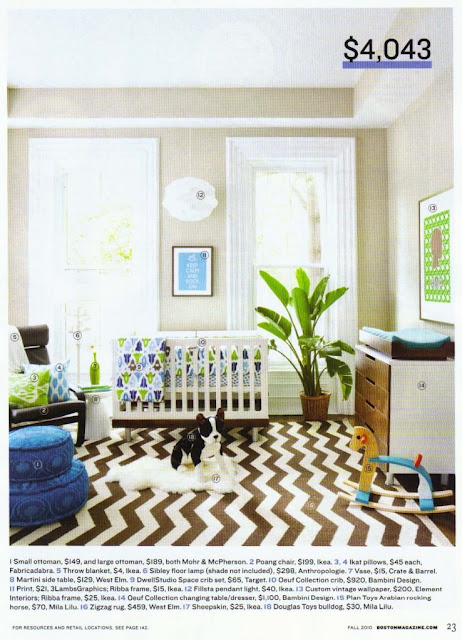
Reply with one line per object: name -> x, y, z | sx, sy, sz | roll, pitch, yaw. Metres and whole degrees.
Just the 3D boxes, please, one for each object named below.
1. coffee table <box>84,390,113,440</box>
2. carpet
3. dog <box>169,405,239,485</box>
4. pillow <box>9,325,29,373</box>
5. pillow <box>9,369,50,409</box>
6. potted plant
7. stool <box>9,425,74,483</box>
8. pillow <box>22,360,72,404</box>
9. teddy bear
coffee table -> -0.800, 0.562, 3.034 | 0.228, 0.322, 0.235 | 1, 6, -8
carpet -> 0.038, 0.773, 2.415 | 1.769, 0.054, 1.190 | -1, 8, 0
dog -> -0.148, 0.597, 2.438 | 0.297, 0.352, 0.206 | 10, 11, 42
pillow -> -1.317, 0.187, 3.061 | 0.064, 0.279, 0.195 | -11, -11, 29
pillow -> -1.134, 0.393, 2.779 | 0.187, 0.216, 0.075 | -1, -13, -29
potted plant -> 0.493, 0.156, 3.353 | 0.670, 0.999, 0.532 | 1, 6, 15
stool -> -0.788, 0.533, 2.067 | 0.187, 0.108, 0.198 | 3, 2, 23
pillow -> -1.083, 0.371, 2.891 | 0.186, 0.227, 0.075 | -3, -2, -4
teddy bear -> -0.152, 0.597, 2.429 | 0.219, 0.354, 0.285 | -4, 10, -40
